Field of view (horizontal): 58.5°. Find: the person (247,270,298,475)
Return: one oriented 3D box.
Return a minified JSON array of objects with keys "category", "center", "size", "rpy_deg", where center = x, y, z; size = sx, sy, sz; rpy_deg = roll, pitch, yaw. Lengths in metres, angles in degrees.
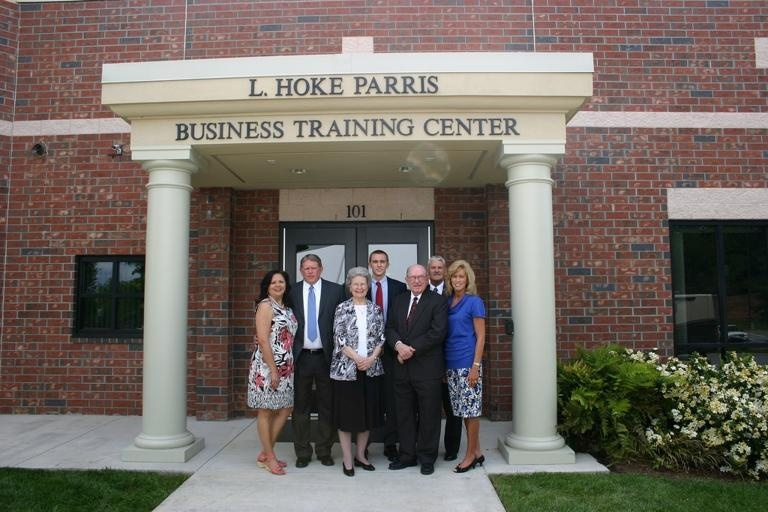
[{"category":"person","center":[-1.608,1.641,9.871],"size":[0.589,2.854,0.702],"rpy_deg":[2,9,12]}]

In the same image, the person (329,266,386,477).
[{"category":"person","center":[-0.382,1.628,9.843],"size":[0.807,2.883,0.649],"rpy_deg":[-5,10,-27]}]

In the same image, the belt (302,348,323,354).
[{"category":"belt","center":[-1.050,1.374,9.959],"size":[0.294,0.079,0.026],"rpy_deg":[-1,9,-5]}]

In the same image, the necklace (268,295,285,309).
[{"category":"necklace","center":[-1.558,0.642,9.861],"size":[0.160,0.168,0.230],"rpy_deg":[19,-4,-30]}]

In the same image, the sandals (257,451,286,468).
[{"category":"sandals","center":[-1.621,2.957,9.937],"size":[0.527,0.206,0.189],"rpy_deg":[-5,-6,35]}]

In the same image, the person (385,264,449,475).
[{"category":"person","center":[0.462,1.606,9.832],"size":[0.841,2.905,0.705],"rpy_deg":[1,9,9]}]

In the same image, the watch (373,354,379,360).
[{"category":"watch","center":[-0.131,1.431,9.731],"size":[0.068,0.027,0.083],"rpy_deg":[-3,-28,-8]}]

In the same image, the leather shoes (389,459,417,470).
[{"category":"leather shoes","center":[0.249,2.999,9.888],"size":[0.425,0.160,0.142],"rpy_deg":[5,-7,-9]}]
